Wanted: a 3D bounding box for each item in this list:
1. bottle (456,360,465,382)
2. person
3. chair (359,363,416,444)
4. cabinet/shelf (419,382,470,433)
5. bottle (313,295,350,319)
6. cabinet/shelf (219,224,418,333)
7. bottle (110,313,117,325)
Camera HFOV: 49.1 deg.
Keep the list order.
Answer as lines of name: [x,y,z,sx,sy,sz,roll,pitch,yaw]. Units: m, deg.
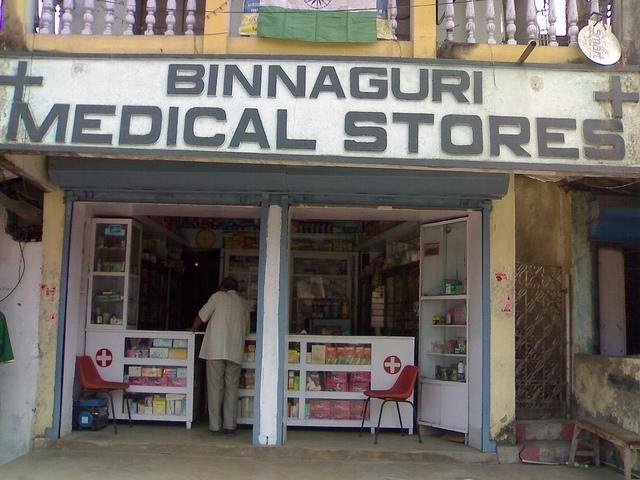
bottle: [1.991,1.836,9.770,0.061,0.265,0.174,6,-10,-36]
person: [-1.361,1.691,9.908,0.713,1.963,0.322,1,-8,-6]
chair: [1.144,2.280,9.903,0.891,1.338,0.893,5,-11,-17]
cabinet/shelf: [1.812,2.330,10.009,0.779,0.660,0.271,-1,-4,39]
bottle: [0.234,1.262,13.013,0.577,0.412,0.328,1,-19,-1]
cabinet/shelf: [-0.005,0.694,12.049,1.898,1.907,0.952,0,-4,3]
bottle: [-3.022,1.170,10.338,0.102,0.141,0.086,-6,-10,34]
